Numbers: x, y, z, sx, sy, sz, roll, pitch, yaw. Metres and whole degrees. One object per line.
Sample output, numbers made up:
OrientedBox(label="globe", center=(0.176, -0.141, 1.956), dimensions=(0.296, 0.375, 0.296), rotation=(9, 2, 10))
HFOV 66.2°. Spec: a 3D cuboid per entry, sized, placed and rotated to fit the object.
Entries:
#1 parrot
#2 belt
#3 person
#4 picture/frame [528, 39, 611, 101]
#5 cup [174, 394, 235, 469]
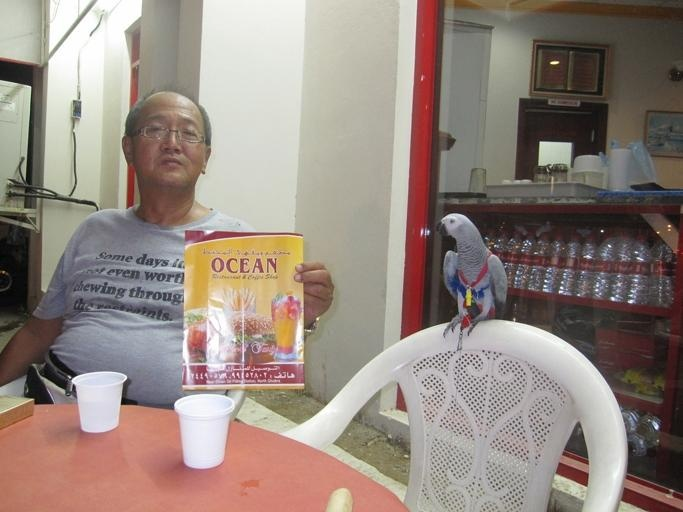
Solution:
OrientedBox(label="parrot", center=(0.373, 0.034, 1.480), dimensions=(0.196, 0.372, 0.159), rotation=(-6, 13, -38))
OrientedBox(label="belt", center=(-0.896, 0.402, 1.759), dimensions=(0.267, 0.152, 0.254), rotation=(9, 6, 28))
OrientedBox(label="person", center=(-0.672, 0.047, 2.110), dimensions=(0.879, 1.378, 0.893), rotation=(7, 7, -7))
OrientedBox(label="picture/frame", center=(1.003, -0.820, 2.287), dimensions=(0.032, 0.283, 0.344), rotation=(-4, 10, -45))
OrientedBox(label="cup", center=(-0.287, 0.363, 1.140), dimensions=(0.135, 0.125, 0.135), rotation=(2, 8, 0))
